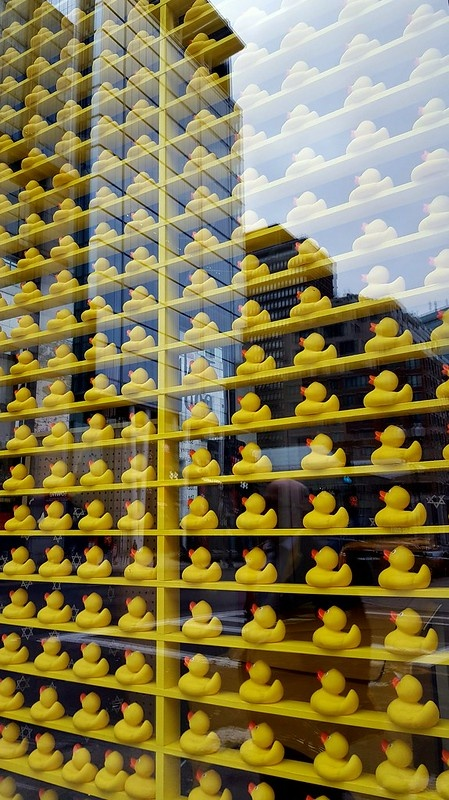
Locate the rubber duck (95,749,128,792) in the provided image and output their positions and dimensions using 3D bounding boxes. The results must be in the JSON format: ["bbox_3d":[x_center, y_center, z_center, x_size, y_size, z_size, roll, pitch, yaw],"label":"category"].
[{"bbox_3d":[-0.296,0.996,1.719,0.089,0.102,0.102,4,13,3],"label":"rubber duck"}]

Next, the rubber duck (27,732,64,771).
[{"bbox_3d":[-0.520,1.028,1.854,0.086,0.120,0.127,11,-20,-20],"label":"rubber duck"}]

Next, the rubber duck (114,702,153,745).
[{"bbox_3d":[-0.238,0.853,1.680,0.107,0.107,0.085,-5,-18,40],"label":"rubber duck"}]
